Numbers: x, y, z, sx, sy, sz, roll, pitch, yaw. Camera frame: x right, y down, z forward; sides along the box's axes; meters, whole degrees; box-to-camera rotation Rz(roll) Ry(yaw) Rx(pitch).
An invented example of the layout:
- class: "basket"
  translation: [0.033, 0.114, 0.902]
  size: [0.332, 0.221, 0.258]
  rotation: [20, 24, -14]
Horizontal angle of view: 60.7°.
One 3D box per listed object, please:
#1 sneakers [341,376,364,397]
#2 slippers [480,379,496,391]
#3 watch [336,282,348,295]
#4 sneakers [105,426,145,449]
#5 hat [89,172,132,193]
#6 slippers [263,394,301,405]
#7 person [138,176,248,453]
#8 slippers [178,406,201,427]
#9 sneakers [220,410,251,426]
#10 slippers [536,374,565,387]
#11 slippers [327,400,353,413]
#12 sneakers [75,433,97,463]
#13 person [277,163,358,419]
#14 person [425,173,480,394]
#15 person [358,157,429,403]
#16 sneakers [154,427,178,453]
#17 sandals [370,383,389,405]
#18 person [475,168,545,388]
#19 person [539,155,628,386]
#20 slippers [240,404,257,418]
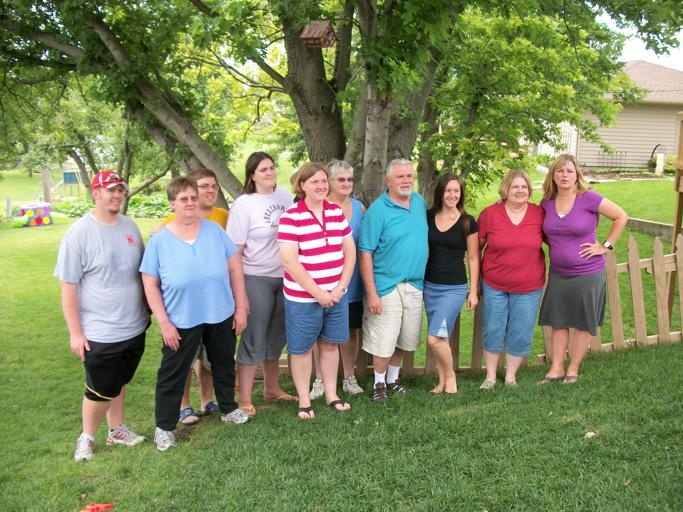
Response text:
- class: "sneakers"
  translation: [0.125, 1.504, 6.752]
  size: [0.137, 0.178, 0.264]
  rotation: [-5, -1, -45]
- class: "slippers"
  translation: [1.657, 1.461, 6.582]
  size: [0.098, 0.067, 0.250]
  rotation: [-1, 0, 15]
- class: "watch"
  translation: [0.009, 0.343, 5.997]
  size: [0.110, 0.110, 0.075]
  rotation: [-10, -3, 17]
- class: "sneakers"
  translation: [-2.193, 1.828, 5.886]
  size: [0.422, 0.200, 0.166]
  rotation: [3, -1, -2]
- class: "hat"
  translation: [-2.244, -0.713, 5.587]
  size: [0.293, 0.158, 0.215]
  rotation: [6, 10, 26]
- class: "slippers"
  translation: [-0.681, 1.638, 6.677]
  size: [0.322, 0.076, 0.136]
  rotation: [-2, 2, 8]
- class: "person"
  translation: [-1.428, 0.531, 5.714]
  size: [1.141, 2.587, 0.599]
  rotation: [-10, 15, -24]
- class: "slippers"
  translation: [-1.629, 1.733, 6.249]
  size: [0.271, 0.197, 0.727]
  rotation: [1, -6, -17]
- class: "sneakers"
  translation: [-1.093, 1.685, 6.051]
  size: [0.318, 0.123, 0.124]
  rotation: [-5, -6, 30]
- class: "slippers"
  translation: [2.367, 1.420, 6.611]
  size: [0.299, 0.079, 0.117]
  rotation: [2, -7, -22]
- class: "slippers"
  translation: [-0.013, 1.607, 6.220]
  size: [0.180, 0.049, 0.104]
  rotation: [1, 1, 44]
- class: "sneakers"
  translation: [-2.471, 1.864, 5.646]
  size: [0.127, 0.140, 0.349]
  rotation: [17, 11, -26]
- class: "person"
  translation: [-0.214, 0.360, 6.004]
  size: [0.791, 2.595, 0.579]
  rotation: [-7, 14, -14]
- class: "person"
  translation: [1.190, 0.319, 6.506]
  size: [0.492, 2.439, 0.750]
  rotation: [5, 16, 32]
- class: "person"
  translation: [0.600, 0.266, 6.371]
  size: [0.825, 2.586, 0.618]
  rotation: [-6, 14, -9]
- class: "sneakers"
  translation: [-1.707, 1.775, 5.674]
  size: [0.198, 0.193, 0.350]
  rotation: [-8, 14, -19]
- class: "sandals"
  translation: [0.424, 1.528, 6.426]
  size: [0.167, 0.205, 0.489]
  rotation: [-1, -5, 1]
- class: "person"
  translation: [1.885, 0.267, 6.478]
  size: [0.774, 2.389, 0.631]
  rotation: [-3, 14, 4]
- class: "person"
  translation: [2.617, 0.154, 6.469]
  size: [0.797, 2.517, 0.693]
  rotation: [1, 15, 20]
- class: "slippers"
  translation: [-0.982, 1.672, 6.249]
  size: [0.090, 0.076, 0.161]
  rotation: [19, -11, -39]
